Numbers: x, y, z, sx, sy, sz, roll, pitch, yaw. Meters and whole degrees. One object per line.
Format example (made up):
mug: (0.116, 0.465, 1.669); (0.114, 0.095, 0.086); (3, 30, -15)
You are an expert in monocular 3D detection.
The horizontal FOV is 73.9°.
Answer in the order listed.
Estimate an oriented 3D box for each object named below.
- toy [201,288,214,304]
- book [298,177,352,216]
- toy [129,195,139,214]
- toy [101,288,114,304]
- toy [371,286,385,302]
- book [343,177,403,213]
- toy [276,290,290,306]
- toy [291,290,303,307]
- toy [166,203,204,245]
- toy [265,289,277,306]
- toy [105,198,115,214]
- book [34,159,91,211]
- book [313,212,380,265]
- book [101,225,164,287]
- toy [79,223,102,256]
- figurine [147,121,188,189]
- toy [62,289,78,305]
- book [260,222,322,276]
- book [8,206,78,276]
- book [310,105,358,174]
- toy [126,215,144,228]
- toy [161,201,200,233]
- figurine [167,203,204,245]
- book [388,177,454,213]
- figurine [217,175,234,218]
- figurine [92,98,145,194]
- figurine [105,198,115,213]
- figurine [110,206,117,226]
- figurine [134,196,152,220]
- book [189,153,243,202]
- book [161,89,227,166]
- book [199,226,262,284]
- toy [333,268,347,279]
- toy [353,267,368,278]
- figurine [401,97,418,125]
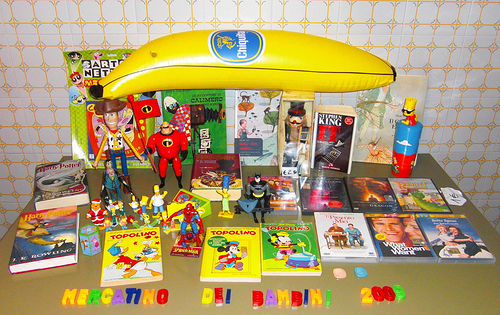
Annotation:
toy: (-0.188, 0.612, 1.478); (0.054, 0.038, 0.054); (2, 18, -3)
book: (0.424, 0.216, 1.906); (0.301, 0.035, 0.295); (8, 45, 15)
toy: (-0.611, 0.248, 1.763); (0.068, 0.086, 0.065); (-6, -1, -9)
toy: (-0.634, 0.614, 1.484); (0.053, 0.041, 0.057); (0, 18, -9)
toy: (0.568, 0.608, 1.491); (0.059, 0.043, 0.053); (3, 18, 1)
book: (0.688, 0.207, 1.908); (0.282, 0.028, 0.281); (5, 39, 0)
toy: (0.143, 0.619, 1.474); (0.082, 0.023, 0.075); (3, 22, 0)
toy: (0.206, 0.622, 1.476); (0.051, 0.040, 0.055); (3, 18, 2)
toy: (-0.332, 0.343, 1.682); (0.178, 0.202, 0.083); (4, 25, 1)
toy: (0.091, 0.617, 1.472); (0.067, 0.026, 0.073); (1, 31, 0)
toy: (-0.739, 0.256, 1.756); (0.079, 0.083, 0.027); (1, -12, -12)
book: (-1.080, 0.158, 1.915); (0.266, 0.176, 0.327); (-6, 20, -27)
book: (0.480, 0.403, 1.711); (0.345, 0.062, 0.343); (14, 43, 17)
book: (-0.564, 0.479, 1.613); (0.269, 0.147, 0.288); (-2, 18, -16)
toy: (-0.778, 0.412, 1.645); (0.104, 0.102, 0.090); (-10, 12, -37)
figurine: (-0.480, -0.019, 1.978); (0.244, 0.377, 0.214); (-2, 19, -16)
toy: (-0.795, 0.614, 1.478); (0.054, 0.040, 0.055); (1, 18, -6)
book: (0.190, 0.446, 1.646); (0.283, 0.144, 0.250); (2, 18, -1)
book: (-1.015, 0.399, 1.665); (0.285, 0.207, 0.339); (-5, 19, -22)
book: (0.508, -0.116, 2.069); (0.253, 0.392, 0.162); (6, 18, 9)
toy: (-0.612, 0.335, 1.778); (0.101, 0.026, 0.040); (37, 52, 8)
toy: (-0.396, 0.311, 1.735); (0.172, 0.163, 0.050); (-6, -12, 6)
figurine: (-0.331, 0.343, 1.681); (0.190, 0.207, 0.075); (2, 19, -2)
book: (0.952, 0.187, 1.856); (0.195, 0.019, 0.204); (1, 39, 0)
figurine: (-0.134, 0.211, 1.819); (0.091, 0.194, 0.133); (1, 18, -6)
figurine: (-0.763, -0.068, 1.905); (0.259, 0.539, 0.319); (0, 18, -9)
figurine: (-0.738, 0.254, 1.756); (0.069, 0.073, 0.025); (7, -18, -29)
figurine: (-0.722, 0.294, 1.761); (0.032, 0.099, 0.086); (-4, 19, -21)
figurine: (-0.573, 0.273, 1.778); (0.113, 0.145, 0.052); (6, 3, -18)
book: (-0.209, 0.107, 1.996); (0.333, 0.080, 0.381); (6, 34, 3)
book: (-0.357, -0.198, 2.045); (0.528, 0.641, 0.015); (-1, 24, -3)
book: (-0.090, 0.467, 1.624); (0.287, 0.147, 0.264); (2, 18, -2)
toy: (0.416, 0.539, 1.558); (0.059, 0.025, 0.047); (5, 18, 6)
toy: (0.517, 0.536, 1.561); (0.063, 0.026, 0.049); (5, 18, 7)
figurine: (0.959, -0.277, 1.988); (0.089, 0.151, 0.115); (12, 20, 27)
